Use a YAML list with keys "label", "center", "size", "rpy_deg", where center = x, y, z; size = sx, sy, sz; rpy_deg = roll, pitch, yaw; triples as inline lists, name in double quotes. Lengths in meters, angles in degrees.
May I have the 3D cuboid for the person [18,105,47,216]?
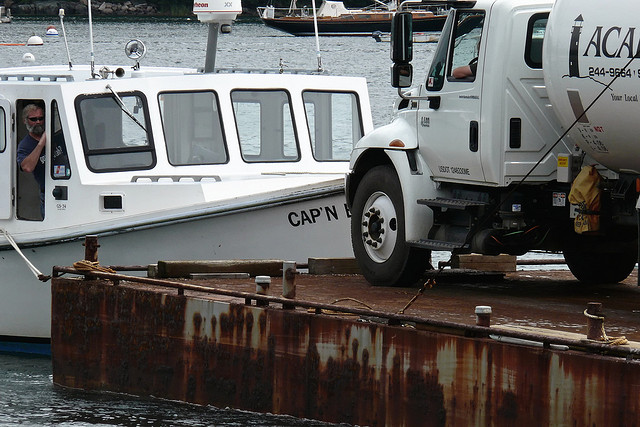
- label: "person"
  center: [-3.849, -0.697, 13.752]
  size: [0.410, 1.441, 0.291]
  rpy_deg: [-3, 12, -9]
